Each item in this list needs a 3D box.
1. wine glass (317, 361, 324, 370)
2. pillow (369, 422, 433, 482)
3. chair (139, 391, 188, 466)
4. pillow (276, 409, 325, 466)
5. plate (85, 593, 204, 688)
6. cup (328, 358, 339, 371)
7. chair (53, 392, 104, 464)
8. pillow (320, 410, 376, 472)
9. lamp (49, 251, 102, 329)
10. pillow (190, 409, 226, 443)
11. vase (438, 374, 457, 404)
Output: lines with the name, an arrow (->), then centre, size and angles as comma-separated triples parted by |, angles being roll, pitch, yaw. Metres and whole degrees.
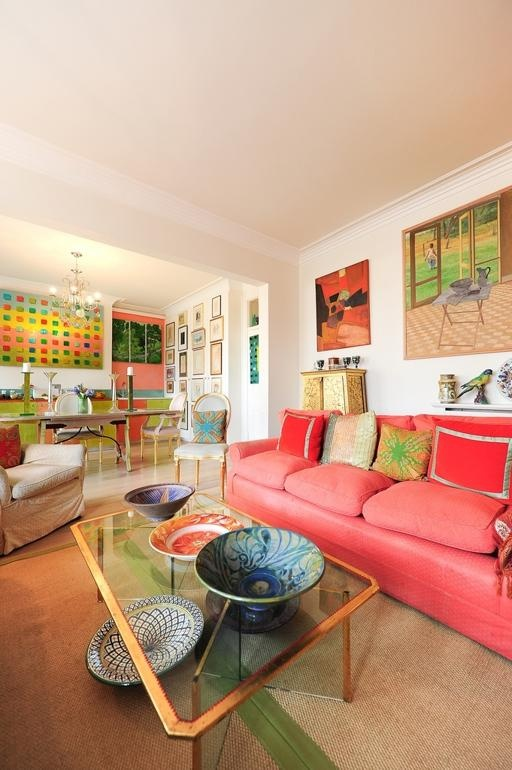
wine glass -> 0.614, -0.192, 4.424 | 0.074, 0.087, 0.077 | 3, 4, 17
pillow -> 0.776, 0.363, 2.494 | 0.084, 0.279, 0.279 | 19, -10, -28
chair -> -1.088, 0.448, 5.535 | 0.518, 0.824, 0.531 | 2, -1, -2
pillow -> 0.302, 0.329, 3.207 | 0.152, 0.299, 0.400 | 3, 3, -39
plate -> -0.347, 0.869, 1.527 | 0.314, 0.079, 0.322 | -14, 20, -4
cup -> 0.689, -0.195, 4.220 | 0.113, 0.115, 0.111 | 1, 3, 0
chair -> -1.866, 0.452, 4.954 | 0.447, 0.765, 0.478 | -23, -18, 29
pillow -> 0.549, 0.340, 2.806 | 0.115, 0.247, 0.307 | 5, -3, -25
lamp -> -2.102, -1.133, 5.459 | 0.609, 0.925, 0.615 | -1, -5, 44
pillow -> -0.408, 0.350, 4.149 | 0.258, 0.262, 0.095 | -6, -24, 21
vase -> 1.309, 0.022, 3.238 | 0.169, 0.265, 0.174 | 1, 1, 23
